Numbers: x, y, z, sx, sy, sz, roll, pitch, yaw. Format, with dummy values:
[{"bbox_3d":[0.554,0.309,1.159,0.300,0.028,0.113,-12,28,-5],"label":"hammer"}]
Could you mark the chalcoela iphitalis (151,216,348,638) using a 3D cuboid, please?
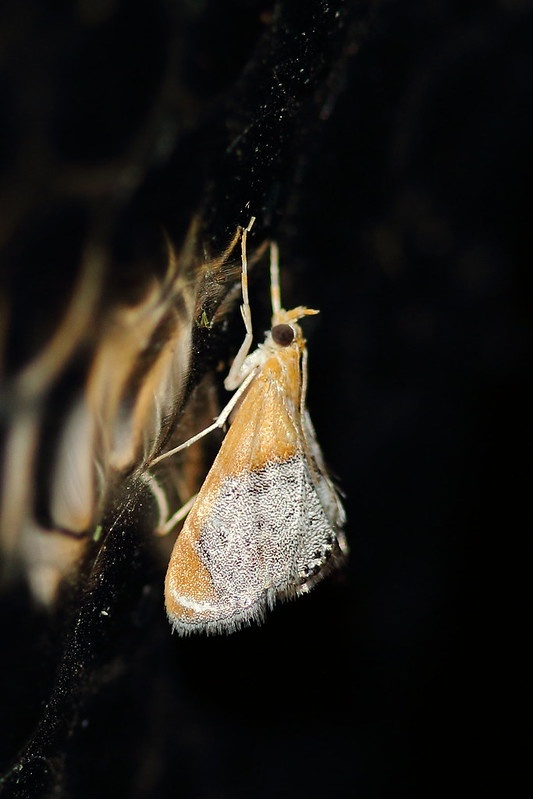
[{"bbox_3d":[-0.013,0.034,0.923,0.216,0.368,0.086,9,-7,-39],"label":"chalcoela iphitalis"}]
